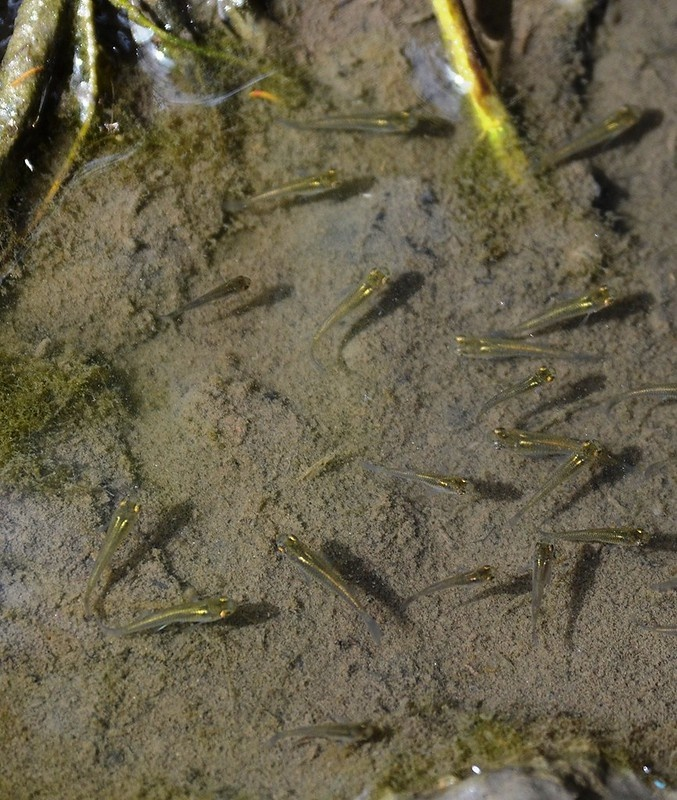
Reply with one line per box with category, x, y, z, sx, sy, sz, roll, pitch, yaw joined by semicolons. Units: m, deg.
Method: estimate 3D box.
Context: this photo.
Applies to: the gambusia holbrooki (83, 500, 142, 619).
gambusia holbrooki;-1.399;1.012;6.182;0.102;0.671;0.258;29;13;-4
